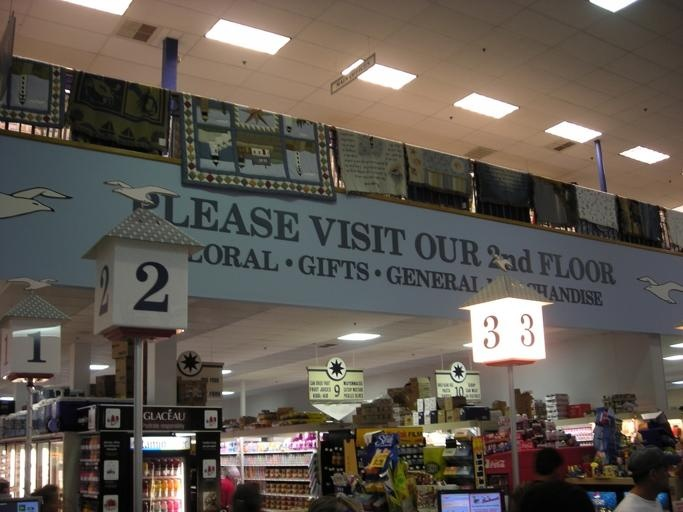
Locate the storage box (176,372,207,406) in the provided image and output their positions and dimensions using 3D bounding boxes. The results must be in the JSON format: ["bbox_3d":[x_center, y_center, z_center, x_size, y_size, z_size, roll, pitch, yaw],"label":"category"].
[{"bbox_3d":[-2.343,2.102,10.310,0.401,0.389,0.406,3,-6,-21],"label":"storage box"}]

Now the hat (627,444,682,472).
[{"bbox_3d":[2.539,1.623,5.312,0.404,0.142,0.255,-5,-6,-17],"label":"hat"}]

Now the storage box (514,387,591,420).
[{"bbox_3d":[4.506,3.129,13.996,1.528,0.641,1.197,-8,-15,12],"label":"storage box"}]
